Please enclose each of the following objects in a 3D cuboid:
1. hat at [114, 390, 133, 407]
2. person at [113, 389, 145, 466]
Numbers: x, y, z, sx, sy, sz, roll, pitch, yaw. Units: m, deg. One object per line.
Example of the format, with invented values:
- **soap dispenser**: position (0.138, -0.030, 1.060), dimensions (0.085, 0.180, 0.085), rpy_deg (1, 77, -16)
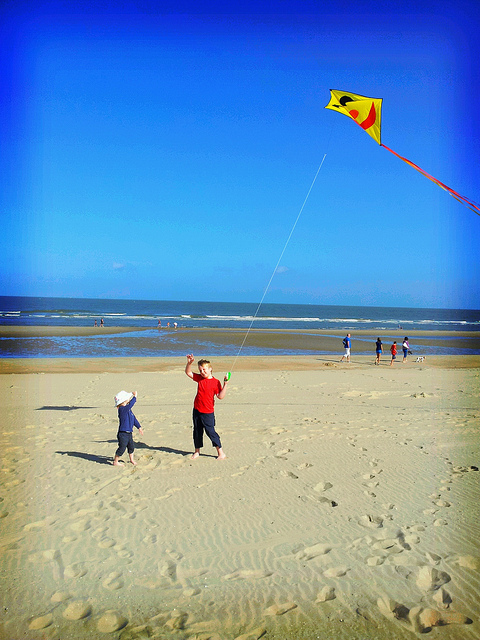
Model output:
- **hat**: position (-1.666, 1.084, 7.391), dimensions (0.237, 0.199, 0.347), rpy_deg (-4, 8, -33)
- **person**: position (-1.632, 1.493, 7.632), dimensions (0.412, 1.149, 1.061), rpy_deg (-1, 7, -10)
